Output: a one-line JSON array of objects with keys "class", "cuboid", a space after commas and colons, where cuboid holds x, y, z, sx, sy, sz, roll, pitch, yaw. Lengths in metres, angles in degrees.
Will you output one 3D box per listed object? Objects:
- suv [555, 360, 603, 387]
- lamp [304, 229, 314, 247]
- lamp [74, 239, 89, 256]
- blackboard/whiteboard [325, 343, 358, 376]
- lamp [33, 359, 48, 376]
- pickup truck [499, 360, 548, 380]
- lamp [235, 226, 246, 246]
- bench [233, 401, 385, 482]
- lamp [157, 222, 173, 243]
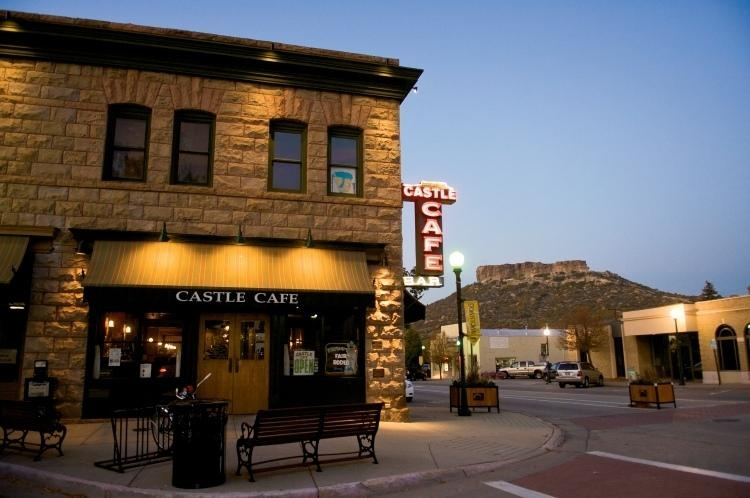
[{"class": "suv", "cuboid": [15.464, 9.393, 44.675, 3.237, 1.788, 1.542, 3, -11, -22]}, {"class": "lamp", "cuboid": [-2.252, -0.388, 20.385, 0.275, 0.684, 0.425, 0, -11, -6]}, {"class": "lamp", "cuboid": [-9.285, -0.058, 18.930, 0.453, 0.460, 0.428, 3, 2, -22]}, {"class": "blackboard/whiteboard", "cuboid": [-1.137, 3.808, 20.855, 1.203, 1.048, 1.108, 0, -1, -7]}, {"class": "lamp", "cuboid": [-10.403, 3.715, 18.494, 0.392, 0.542, 0.311, 4, -12, -27]}, {"class": "pickup truck", "cuboid": [16.631, 13.584, 66.695, 5.101, 1.471, 2.062, -1, -7, 20]}, {"class": "lamp", "cuboid": [-4.509, -0.528, 19.826, 0.312, 0.750, 0.531, 1, -11, -14]}, {"class": "bench", "cuboid": [-1.558, 4.737, 14.934, 3.696, 1.430, 1.122, 11, -23, -41]}, {"class": "lamp", "cuboid": [-6.753, -0.593, 19.141, 0.341, 0.766, 0.921, 3, -11, -19]}]
